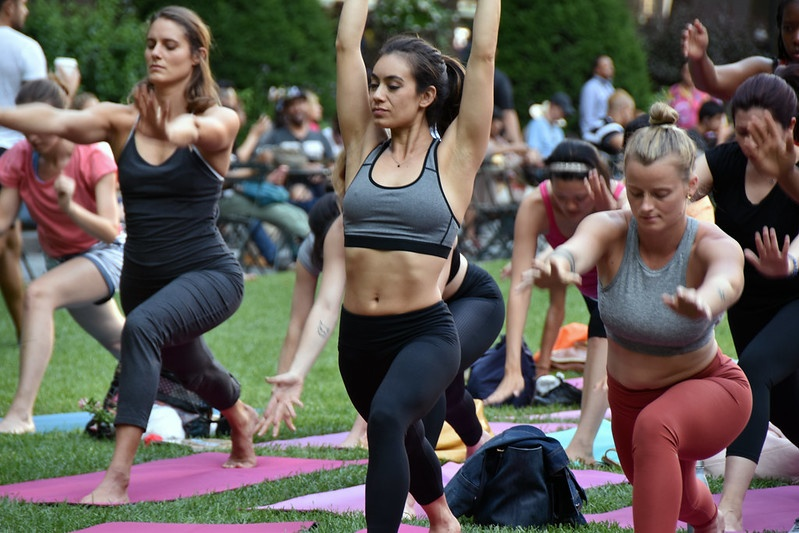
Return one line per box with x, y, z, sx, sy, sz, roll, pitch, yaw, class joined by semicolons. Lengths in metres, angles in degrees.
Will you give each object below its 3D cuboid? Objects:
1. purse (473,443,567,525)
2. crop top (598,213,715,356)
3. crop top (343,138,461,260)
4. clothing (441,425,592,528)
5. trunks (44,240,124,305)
0.696;1.176;5.373;0.444;0.441;0.427;3;-10;8;purse
1.271;0.098;4.759;0.547;0.731;0.421;5;10;35;crop top
-0.003;-0.376;4.931;0.614;0.668;0.358;4;-8;15;crop top
0.675;1.025;5.507;0.729;0.551;0.472;0;-7;15;clothing
-2.168;0.080;6.790;0.373;0.450;0.493;2;20;-1;trunks
